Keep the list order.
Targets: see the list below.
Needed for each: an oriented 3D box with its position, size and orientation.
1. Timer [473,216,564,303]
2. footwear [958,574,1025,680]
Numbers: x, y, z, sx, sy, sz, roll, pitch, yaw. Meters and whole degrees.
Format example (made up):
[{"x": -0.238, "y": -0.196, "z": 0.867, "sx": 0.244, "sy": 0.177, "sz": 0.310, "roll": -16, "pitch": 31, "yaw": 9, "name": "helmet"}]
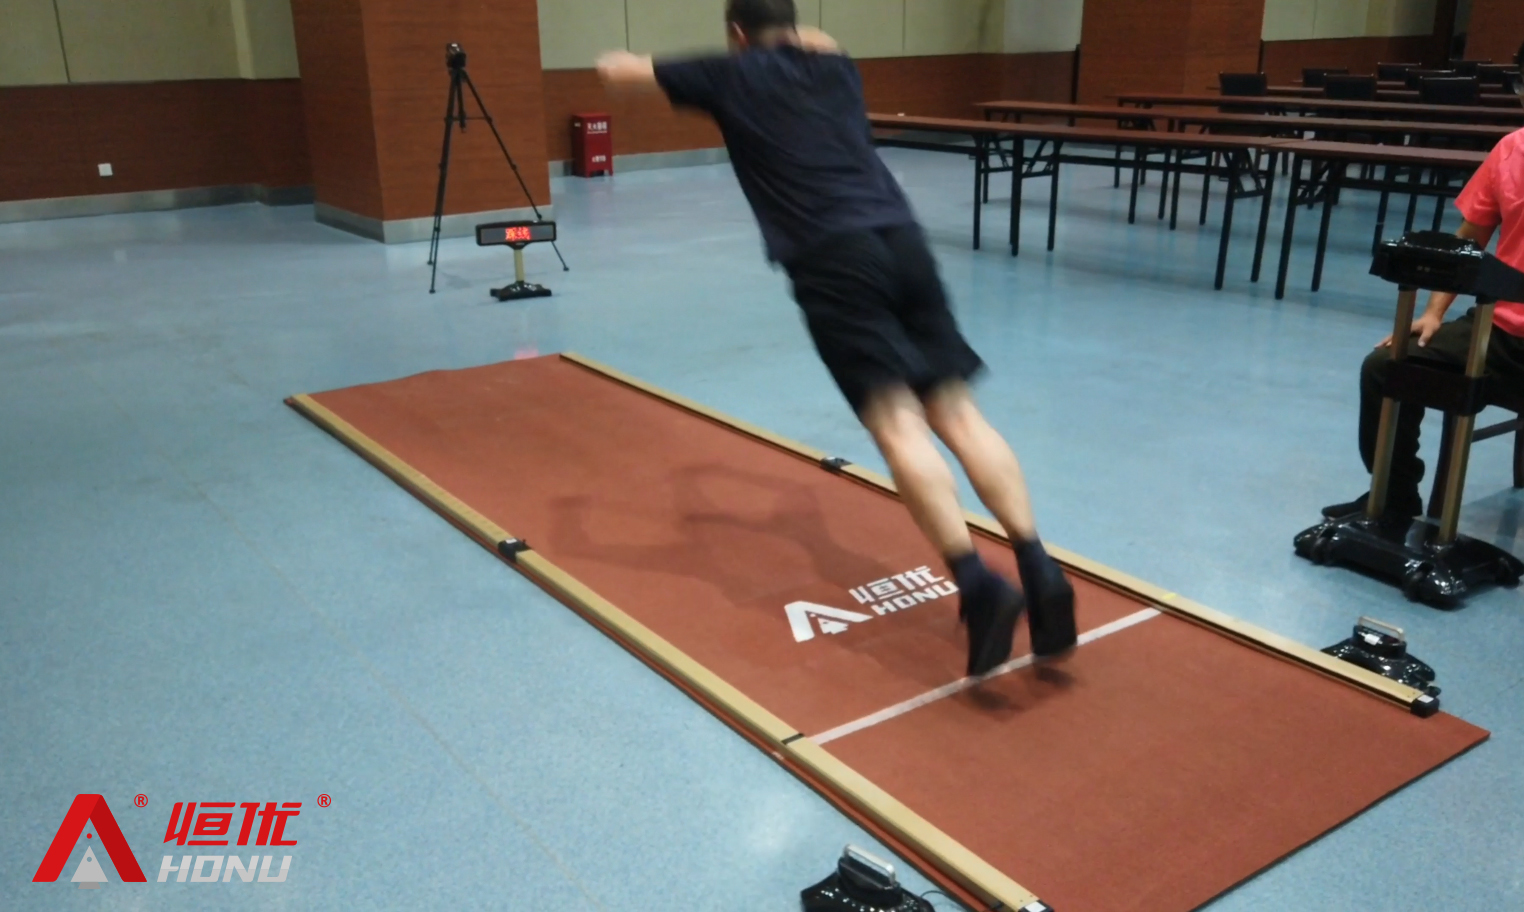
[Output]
[{"x": -1.759, "y": -1.432, "z": 6.951, "sx": 0.576, "sy": 0.549, "sz": 0.342, "roll": -12, "pitch": 24, "yaw": -33, "name": "Timer"}, {"x": 0.728, "y": 0.507, "z": 3.067, "sx": 0.147, "sy": 0.394, "sz": 0.162, "roll": -9, "pitch": 22, "yaw": -31, "name": "footwear"}]
